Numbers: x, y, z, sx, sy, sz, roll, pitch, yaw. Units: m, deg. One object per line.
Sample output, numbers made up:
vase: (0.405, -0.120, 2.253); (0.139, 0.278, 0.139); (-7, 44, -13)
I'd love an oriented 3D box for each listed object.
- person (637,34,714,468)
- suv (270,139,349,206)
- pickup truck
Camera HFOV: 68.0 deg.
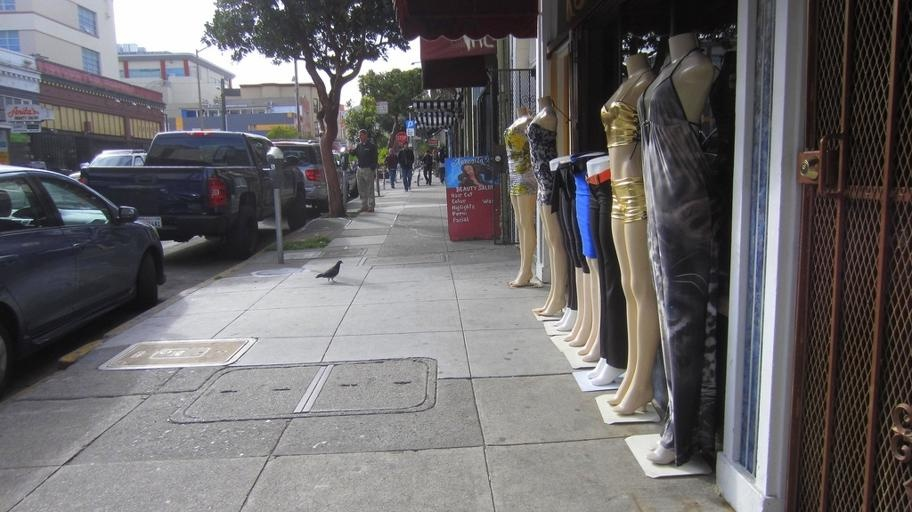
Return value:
person: (1.604, 0.029, 4.801); (0.434, 3.185, 0.582); (-4, 10, -7)
suv: (-4.088, -2.287, 19.358); (1.378, 1.303, 2.943); (1, 9, 9)
pickup truck: (-4.420, -1.211, 12.644); (2.107, 1.439, 3.935); (2, 11, 6)
